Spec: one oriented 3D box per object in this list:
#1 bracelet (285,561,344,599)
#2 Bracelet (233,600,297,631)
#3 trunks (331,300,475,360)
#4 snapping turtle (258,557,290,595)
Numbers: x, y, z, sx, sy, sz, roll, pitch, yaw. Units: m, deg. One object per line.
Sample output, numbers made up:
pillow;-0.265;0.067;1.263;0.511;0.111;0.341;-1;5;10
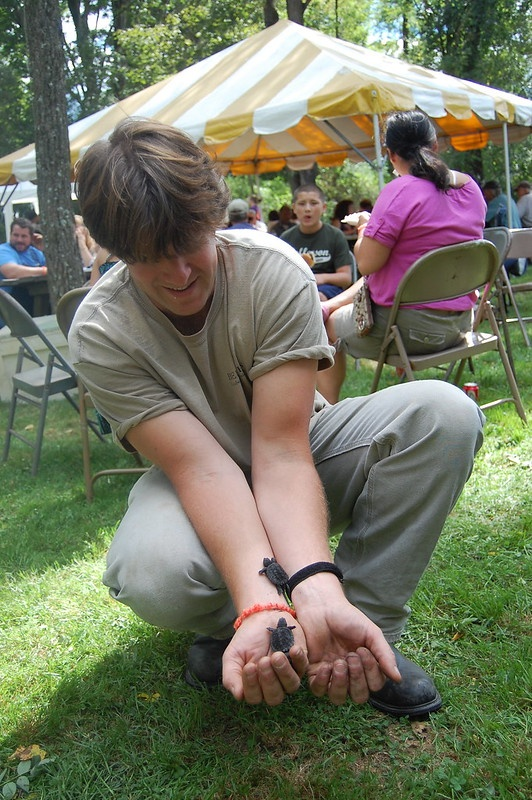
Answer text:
bracelet;0.090;0.328;1.226;0.083;0.022;0.077;-28;14;15
Bracelet;0.006;0.382;1.183;0.082;0.021;0.064;-7;-28;-4
trunks;0.640;-0.340;3.291;0.494;0.179;0.386;6;7;42
snapping turtle;0.019;0.328;1.218;0.024;0.067;0.052;-29;4;38
